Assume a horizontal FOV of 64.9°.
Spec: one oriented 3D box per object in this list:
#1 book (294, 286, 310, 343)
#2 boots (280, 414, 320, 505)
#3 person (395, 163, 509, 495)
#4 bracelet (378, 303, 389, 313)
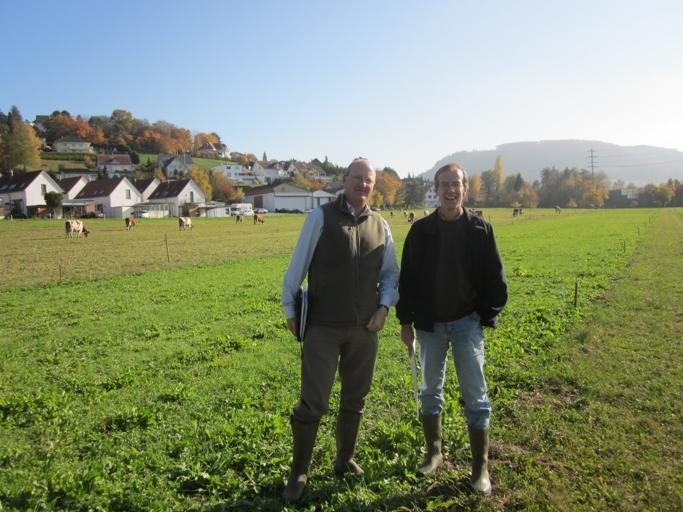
[{"bbox_3d":[-0.505,0.718,6.660,0.148,0.520,0.358,-1,0,-18],"label":"book"},{"bbox_3d":[-0.527,2.441,6.627,0.325,0.939,0.588,7,10,40],"label":"boots"},{"bbox_3d":[1.406,0.807,6.910,1.324,3.927,0.963,3,8,18],"label":"person"},{"bbox_3d":[0.550,0.661,6.850,0.094,0.074,0.097,8,3,-21],"label":"bracelet"}]
